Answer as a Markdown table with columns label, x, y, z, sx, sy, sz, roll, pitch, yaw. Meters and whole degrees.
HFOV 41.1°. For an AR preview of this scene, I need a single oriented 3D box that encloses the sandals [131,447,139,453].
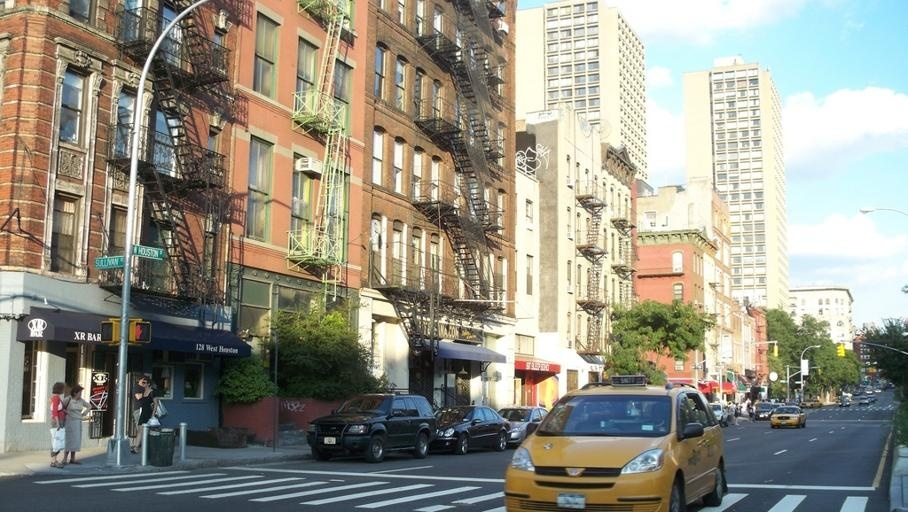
| label | x | y | z | sx | sy | sz | roll | pitch | yaw |
| --- | --- | --- | --- | --- | --- | --- | --- | --- | --- |
| sandals | -15.208 | 9.278 | 57.638 | 0.507 | 0.214 | 0.166 | -7 | -8 | 30 |

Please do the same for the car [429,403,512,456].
| label | x | y | z | sx | sy | sz | roll | pitch | yaw |
| --- | --- | --- | --- | --- | --- | --- | --- | --- | --- |
| car | 0.389 | 9.254 | 64.813 | 3.142 | 2.455 | 7.697 | -5 | -9 | 28 |

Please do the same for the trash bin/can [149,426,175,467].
| label | x | y | z | sx | sy | sz | roll | pitch | yaw |
| --- | --- | --- | --- | --- | --- | --- | --- | --- | --- |
| trash bin/can | -13.521 | 8.840 | 56.044 | 1.665 | 1.676 | 1.551 | 2 | -11 | -14 |

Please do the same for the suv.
| label | x | y | z | sx | sy | sz | roll | pitch | yaw |
| --- | --- | --- | --- | --- | --- | --- | --- | --- | --- |
| suv | -3.889 | 8.475 | 59.669 | 6.004 | 3.474 | 2.090 | 7 | -17 | -32 |
